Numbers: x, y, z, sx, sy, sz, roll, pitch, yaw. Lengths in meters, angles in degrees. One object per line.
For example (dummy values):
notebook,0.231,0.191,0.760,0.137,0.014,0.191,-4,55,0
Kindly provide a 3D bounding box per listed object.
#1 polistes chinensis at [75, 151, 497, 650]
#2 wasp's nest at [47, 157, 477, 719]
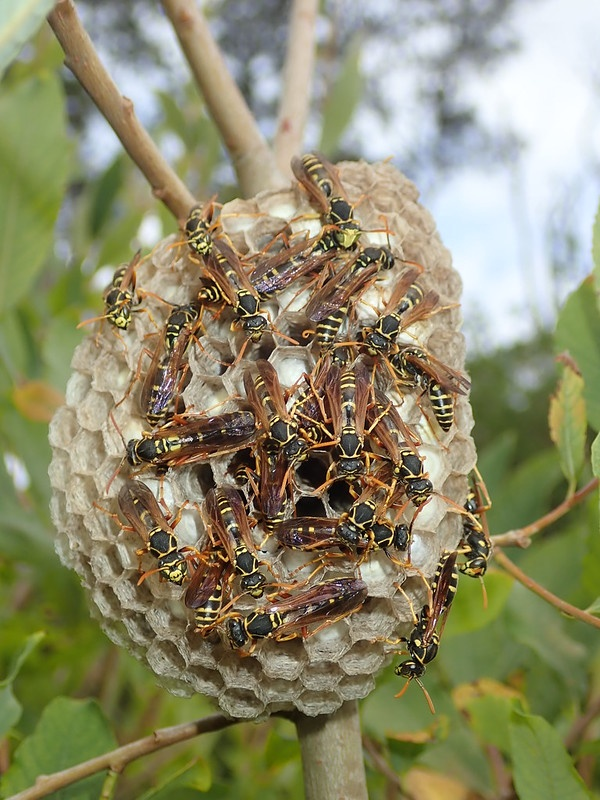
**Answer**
polistes chinensis,-0.023,0.042,1.384,0.658,0.302,0.631,-1,84,2
wasp's nest,-0.071,0.076,1.453,0.651,0.228,0.692,12,81,1
